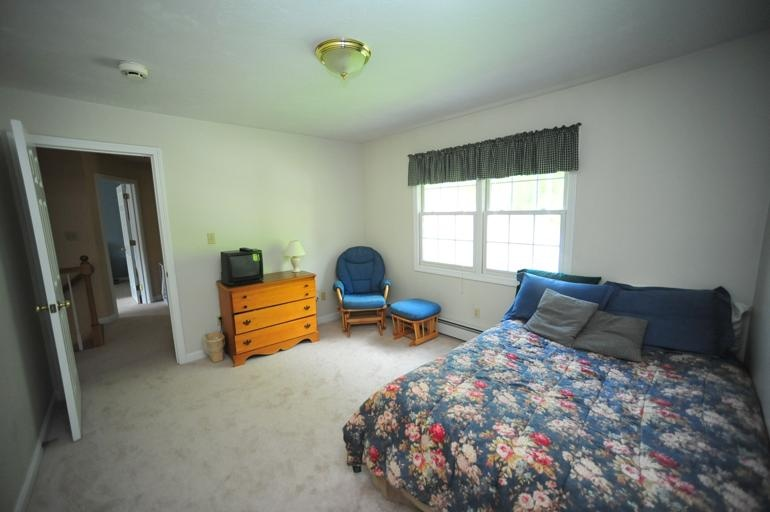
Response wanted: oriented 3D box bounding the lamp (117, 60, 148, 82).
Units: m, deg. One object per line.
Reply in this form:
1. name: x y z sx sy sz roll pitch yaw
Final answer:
1. lamp: -2.351 -1.731 4.541 0.257 0.097 0.277 -5 7 -24

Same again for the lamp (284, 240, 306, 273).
1. lamp: -1.185 -0.002 6.394 0.232 0.415 0.419 -4 7 -12

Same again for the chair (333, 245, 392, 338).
1. chair: -0.329 0.431 6.799 0.892 1.188 1.091 -1 5 -6

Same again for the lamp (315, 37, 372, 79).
1. lamp: -0.359 -1.702 4.350 0.325 0.162 0.331 -2 -8 5

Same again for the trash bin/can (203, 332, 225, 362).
1. trash bin/can: -2.038 1.089 5.828 0.243 0.318 0.292 -6 8 -26

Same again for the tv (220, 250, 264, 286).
1. tv: -1.657 0.089 5.855 0.393 0.517 0.516 2 4 44
